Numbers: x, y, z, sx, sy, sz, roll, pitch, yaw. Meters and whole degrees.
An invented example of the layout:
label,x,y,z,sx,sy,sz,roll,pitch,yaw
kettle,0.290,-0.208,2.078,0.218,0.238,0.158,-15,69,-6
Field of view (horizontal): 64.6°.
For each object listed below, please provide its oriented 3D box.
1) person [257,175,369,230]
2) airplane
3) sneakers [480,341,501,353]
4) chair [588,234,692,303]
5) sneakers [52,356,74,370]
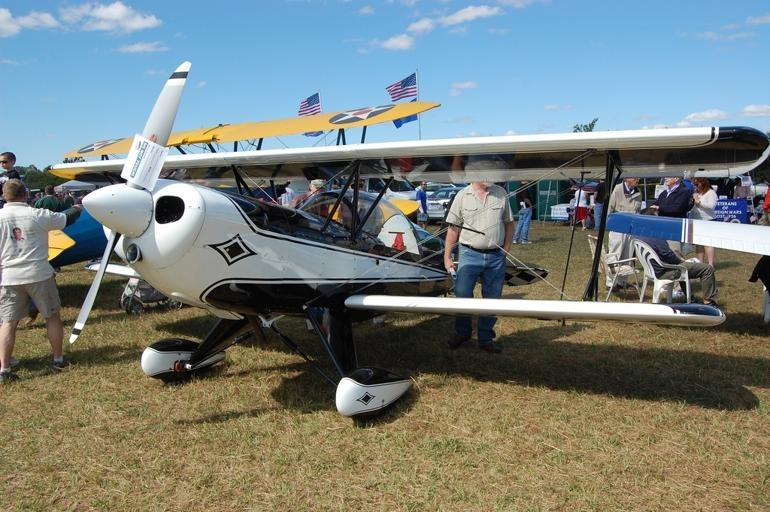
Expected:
label,x,y,z,sx,sy,sz,roll,pitch,yaw
person,-0.637,-0.673,7.085,1.386,0.752,0.371,5,-2,4
airplane,0.443,-0.012,6.579,5.885,1.674,5.042,-1,-6,34
sneakers,1.245,1.068,7.202,0.126,0.098,0.301,-2,2,-44
chair,3.460,0.179,8.214,1.195,1.140,1.001,-6,9,-7
sneakers,-3.598,1.184,6.758,0.130,0.081,0.256,-11,-2,3
